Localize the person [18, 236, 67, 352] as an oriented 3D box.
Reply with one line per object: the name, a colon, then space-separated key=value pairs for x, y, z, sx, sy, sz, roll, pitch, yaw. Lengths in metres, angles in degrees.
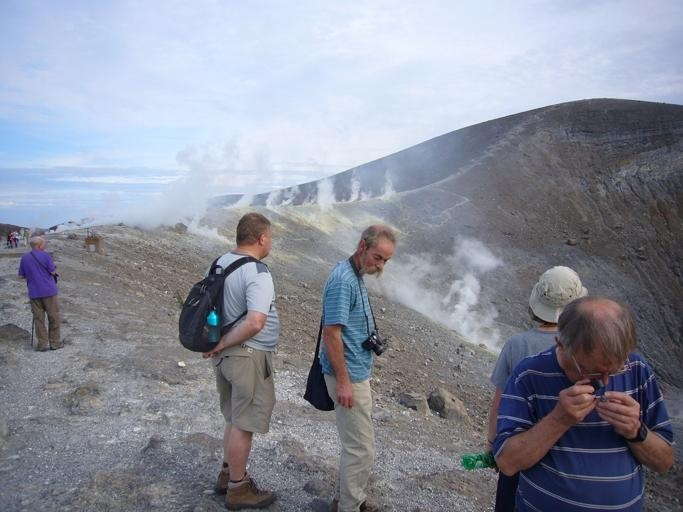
person: x=-4.911 y=0.618 z=7.650 sx=0.741 sy=1.773 sz=0.533 roll=12 pitch=11 yaw=34

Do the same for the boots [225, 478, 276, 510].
boots: x=-0.861 y=2.182 z=4.403 sx=0.503 sy=0.307 sz=0.220 roll=1 pitch=-2 yaw=-20

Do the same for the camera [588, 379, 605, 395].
camera: x=1.575 y=0.803 z=2.882 sx=0.090 sy=0.087 sz=0.093 roll=-3 pitch=-40 yaw=32

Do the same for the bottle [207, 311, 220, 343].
bottle: x=-1.133 y=0.620 z=4.118 sx=0.109 sy=0.272 sz=0.083 roll=2 pitch=10 yaw=-20

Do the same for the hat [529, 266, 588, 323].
hat: x=1.788 y=0.304 z=3.844 sx=0.373 sy=0.260 sz=0.507 roll=10 pitch=46 yaw=37
